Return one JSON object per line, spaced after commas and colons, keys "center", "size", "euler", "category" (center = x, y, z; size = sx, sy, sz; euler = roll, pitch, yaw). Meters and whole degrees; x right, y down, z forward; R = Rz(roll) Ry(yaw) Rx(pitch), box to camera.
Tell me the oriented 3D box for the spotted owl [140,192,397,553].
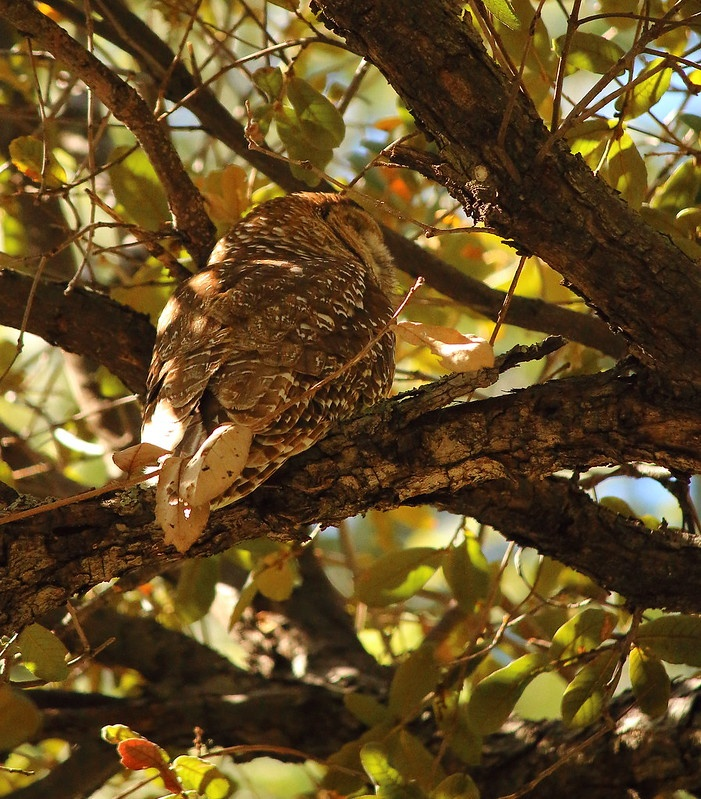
{"center": [-0.272, -0.150, 4.040], "size": [1.102, 1.338, 1.108], "euler": [0, -83, -12], "category": "spotted owl"}
